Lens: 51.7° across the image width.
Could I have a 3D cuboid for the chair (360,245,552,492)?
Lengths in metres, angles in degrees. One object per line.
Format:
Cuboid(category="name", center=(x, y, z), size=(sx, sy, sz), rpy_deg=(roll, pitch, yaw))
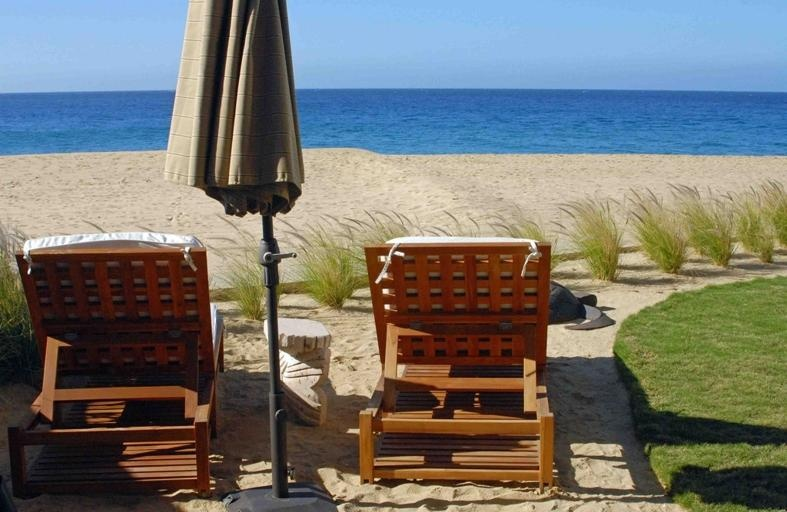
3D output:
Cuboid(category="chair", center=(0.520, 0.835, 6.329), size=(1.450, 1.311, 2.168), rpy_deg=(-1, 15, 2))
